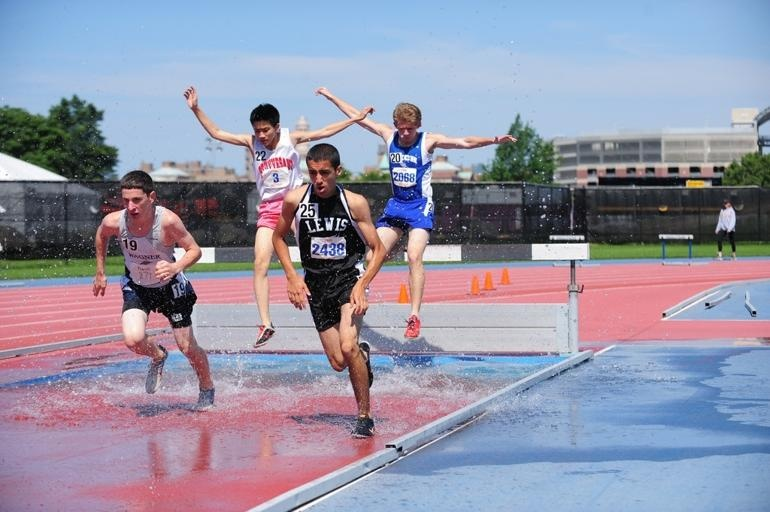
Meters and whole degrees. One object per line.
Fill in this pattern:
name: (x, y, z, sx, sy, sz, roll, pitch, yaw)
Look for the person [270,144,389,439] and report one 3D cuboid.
person: (-0.555, 0.308, 12.122, 1.081, 2.790, 0.954, -1, 13, 3)
